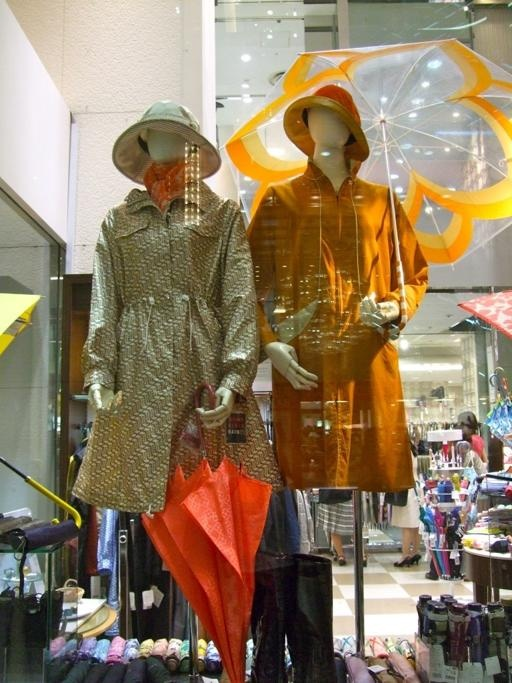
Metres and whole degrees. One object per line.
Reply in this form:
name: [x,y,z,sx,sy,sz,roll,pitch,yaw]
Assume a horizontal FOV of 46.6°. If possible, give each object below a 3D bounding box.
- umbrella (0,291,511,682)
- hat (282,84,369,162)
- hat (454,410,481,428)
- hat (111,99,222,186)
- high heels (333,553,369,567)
umbrella: [-0.139,0.331,1.509,0.986,0.972,0.360,1,-15,-19]
hat: [0.219,-0.583,1.658,0.219,0.144,0.229,3,-35,31]
hat: [0.547,0.201,1.532,0.039,0.038,0.053,10,2,13]
hat: [-0.231,-0.519,1.613,0.256,0.134,0.245,18,-37,-30]
high heels: [0.241,0.555,1.505,0.095,0.035,0.031,13,-19,-28]
